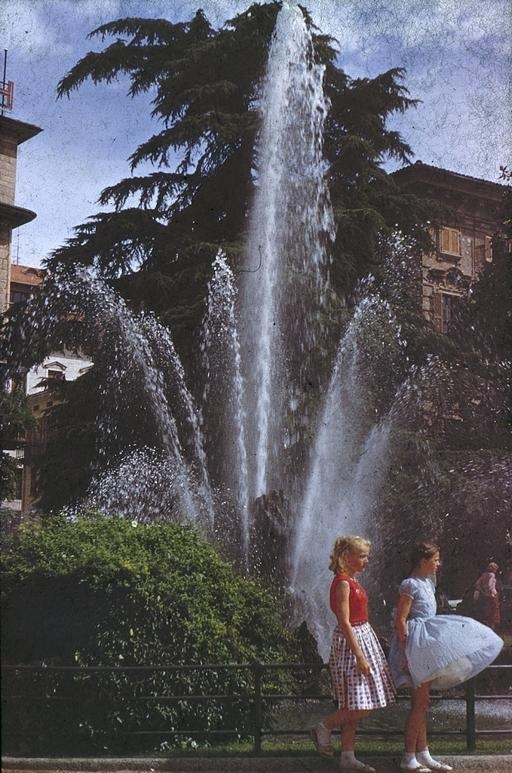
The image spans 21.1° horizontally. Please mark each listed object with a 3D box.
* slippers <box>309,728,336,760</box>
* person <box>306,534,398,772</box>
[{"bbox_3d":[0.509,2.645,10.340,0.086,0.277,0.150,-16,-5,19],"label":"slippers"},{"bbox_3d":[0.710,1.970,10.171,0.603,1.724,0.450,-1,1,15],"label":"person"}]
